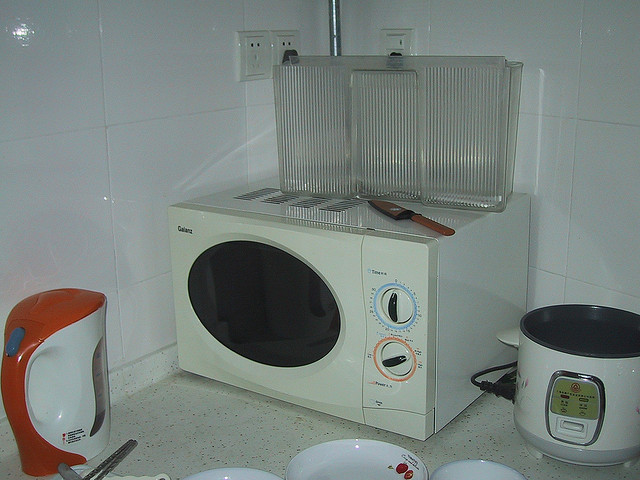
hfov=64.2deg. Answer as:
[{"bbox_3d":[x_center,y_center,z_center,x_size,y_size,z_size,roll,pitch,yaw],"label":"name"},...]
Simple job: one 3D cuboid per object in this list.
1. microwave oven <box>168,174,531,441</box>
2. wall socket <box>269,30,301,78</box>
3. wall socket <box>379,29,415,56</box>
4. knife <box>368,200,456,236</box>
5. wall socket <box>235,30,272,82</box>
[{"bbox_3d":[0.022,0.080,1.125,0.565,0.376,0.406,11,25,27],"label":"microwave oven"},{"bbox_3d":[-0.083,-0.499,1.304,0.075,0.066,0.039,-1,25,6],"label":"wall socket"},{"bbox_3d":[0.185,-0.491,1.255,0.014,0.065,0.109,-8,17,-38],"label":"wall socket"},{"bbox_3d":[0.159,-0.057,0.912,0.046,0.015,0.219,-17,21,-24],"label":"knife"},{"bbox_3d":[-0.165,-0.448,1.222,0.015,0.117,0.114,10,22,37],"label":"wall socket"}]
